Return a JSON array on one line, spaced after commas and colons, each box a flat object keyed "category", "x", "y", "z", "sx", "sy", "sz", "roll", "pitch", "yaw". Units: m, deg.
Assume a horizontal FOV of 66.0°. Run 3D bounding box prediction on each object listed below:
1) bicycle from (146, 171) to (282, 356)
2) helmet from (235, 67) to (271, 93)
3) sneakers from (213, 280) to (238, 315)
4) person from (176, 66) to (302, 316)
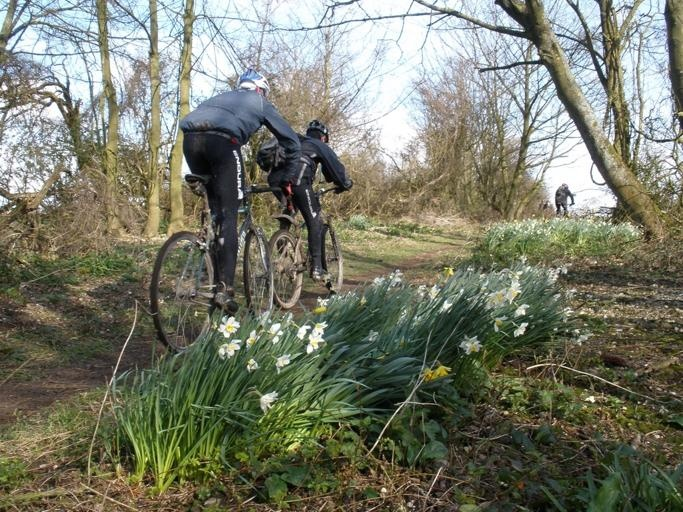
[{"category": "bicycle", "x": -1.277, "y": 0.143, "z": 5.277, "sx": 1.056, "sy": 1.167, "sz": 2.086, "roll": 2, "pitch": 10, "yaw": 10}, {"category": "helmet", "x": -0.888, "y": -1.736, "z": 5.178, "sx": 0.250, "sy": 0.281, "sz": 0.310, "roll": 10, "pitch": 30, "yaw": 3}, {"category": "sneakers", "x": -1.030, "y": 0.381, "z": 4.610, "sx": 0.107, "sy": 0.169, "sz": 0.349, "roll": -36, "pitch": 37, "yaw": 10}, {"category": "person", "x": -0.984, "y": -0.538, "z": 4.996, "sx": 0.659, "sy": 2.067, "sz": 0.991, "roll": 2, "pitch": 3, "yaw": 21}]
